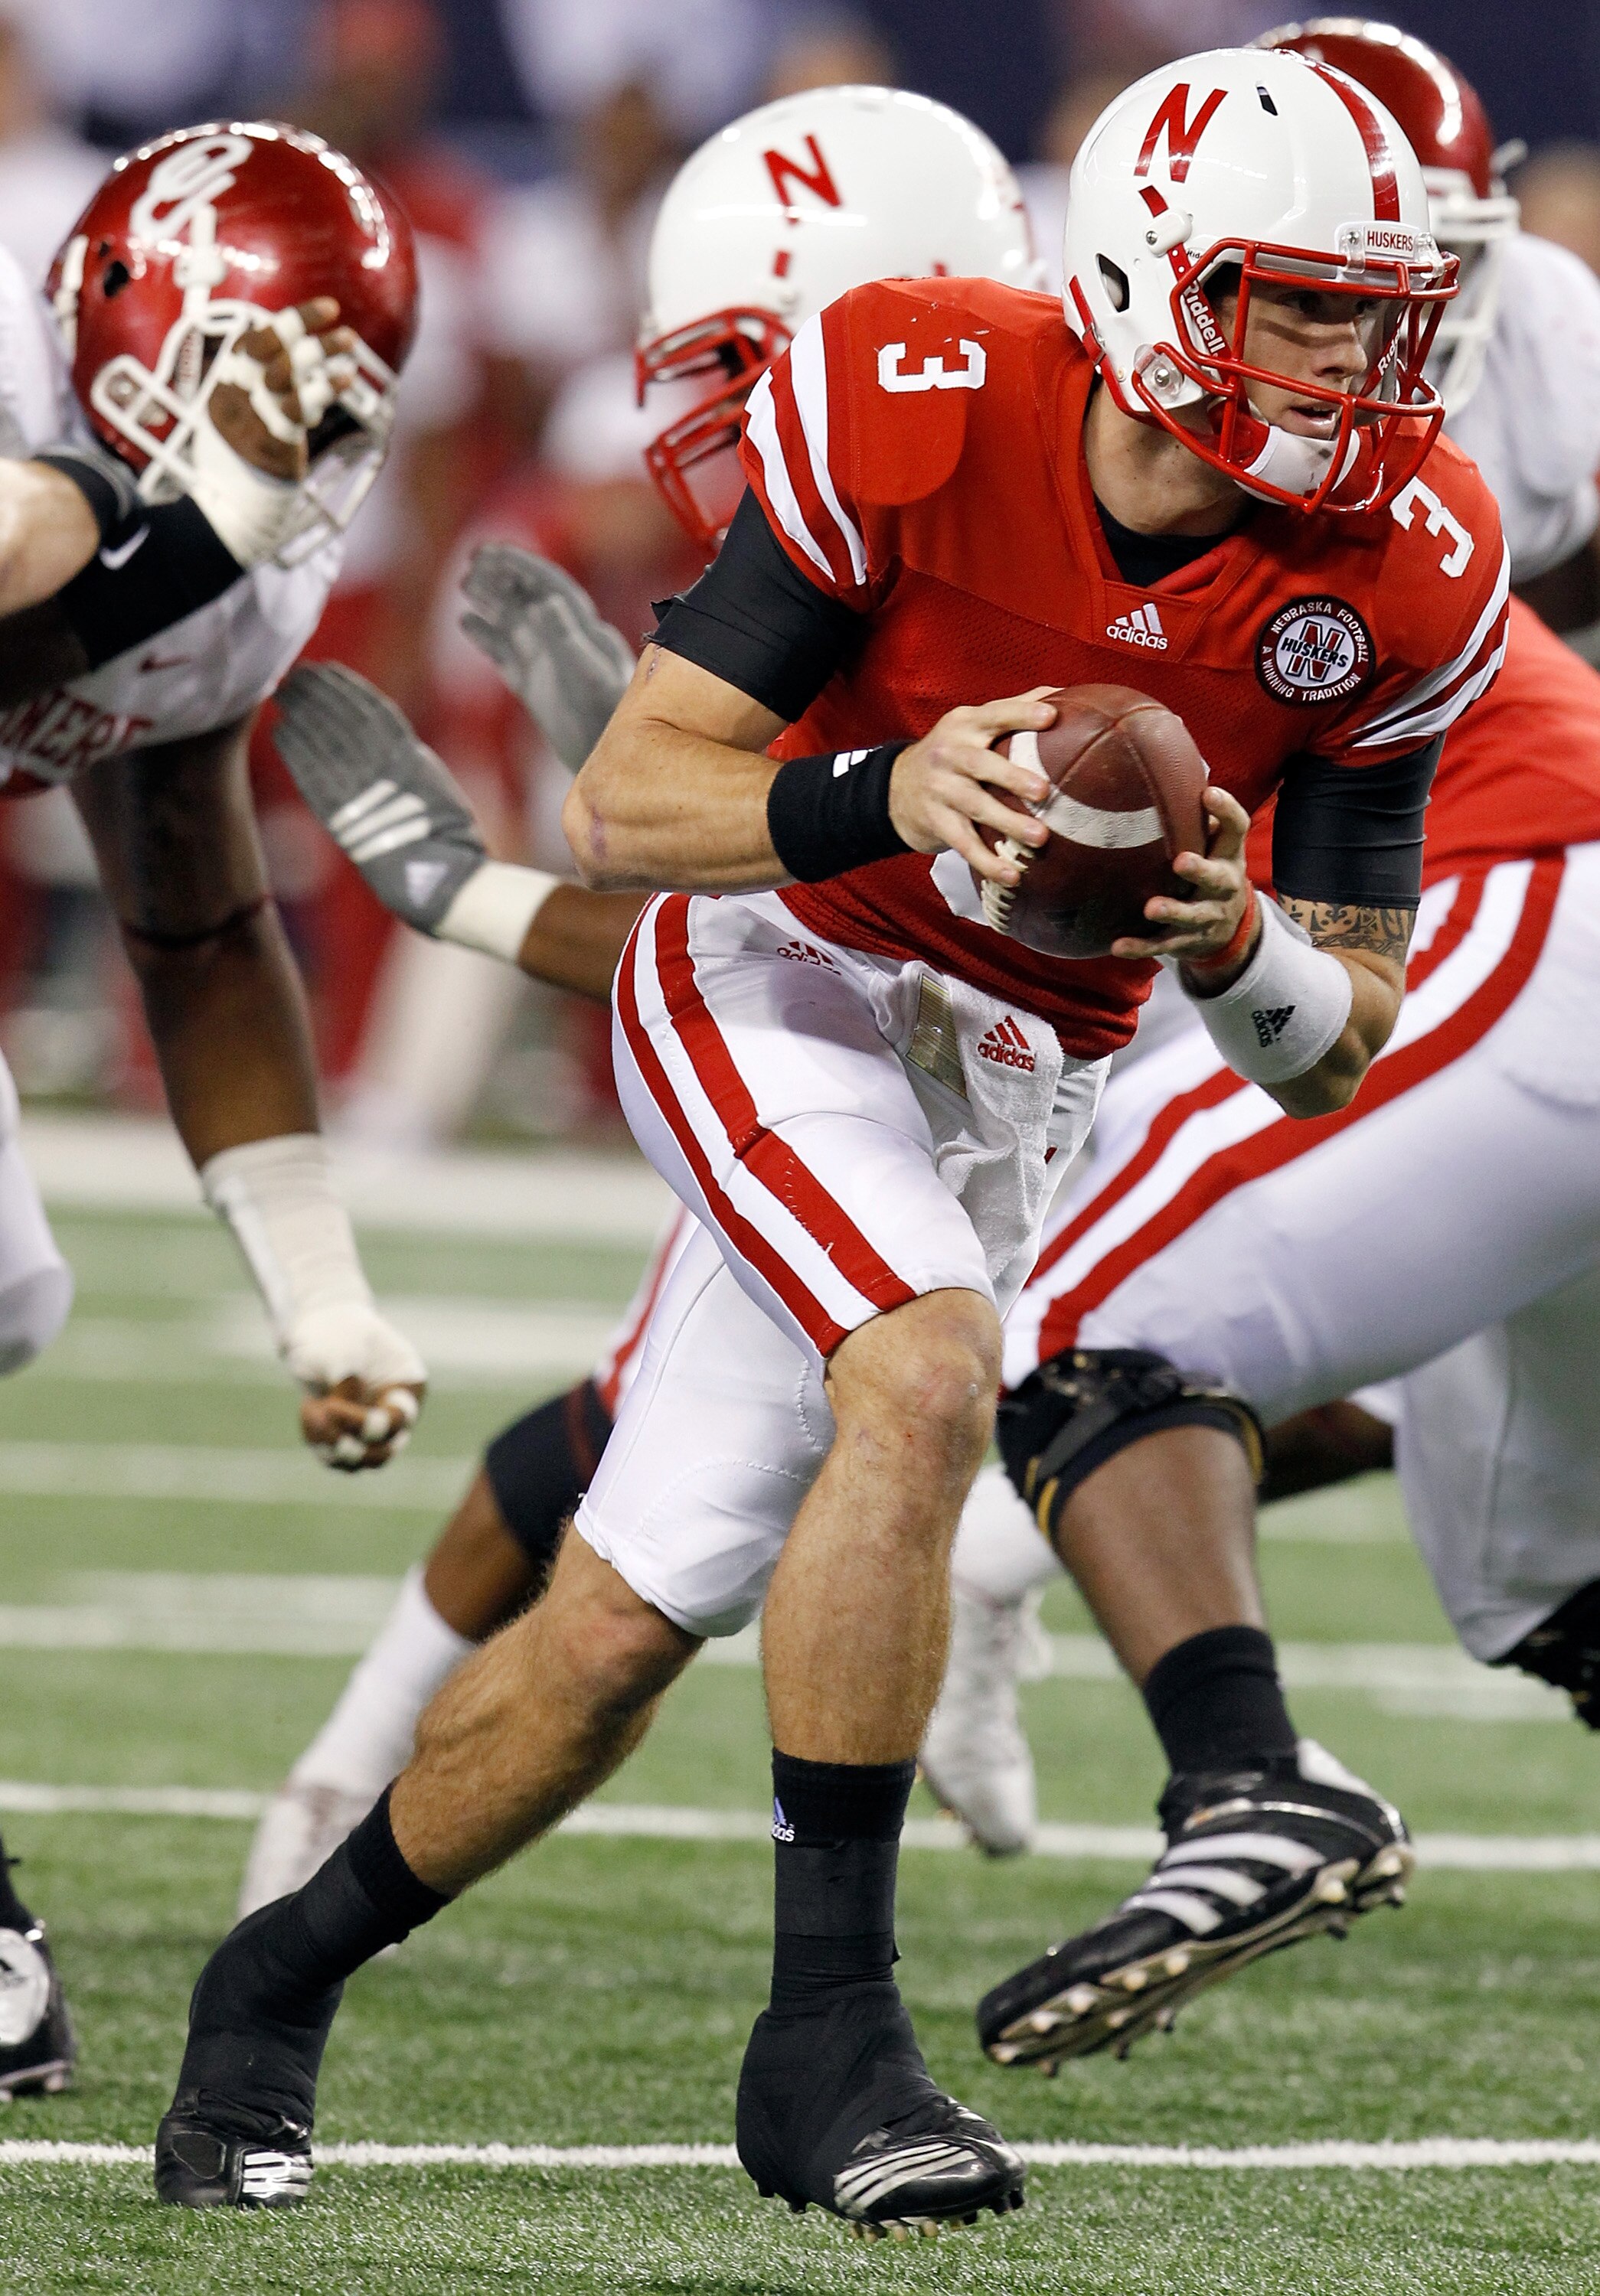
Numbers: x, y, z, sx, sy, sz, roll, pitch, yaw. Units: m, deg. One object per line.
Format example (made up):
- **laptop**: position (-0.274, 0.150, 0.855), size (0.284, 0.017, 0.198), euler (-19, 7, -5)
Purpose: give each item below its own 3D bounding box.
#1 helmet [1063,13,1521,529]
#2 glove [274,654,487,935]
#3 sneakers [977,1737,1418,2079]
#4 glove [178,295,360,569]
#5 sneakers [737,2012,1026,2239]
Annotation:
- **helmet**: position (0.279, -0.531, 1.487), size (0.252, 0.279, 0.330), euler (-17, 34, -39)
- **glove**: position (-0.381, -0.300, 2.070), size (0.132, 0.237, 0.065), euler (-47, 25, -25)
- **sneakers**: position (0.226, 0.444, 1.466), size (0.290, 0.100, 0.127), euler (-30, 45, 9)
- **glove**: position (-0.358, -0.486, 1.672), size (0.125, 0.161, 0.071), euler (14, 5, 23)
- **sneakers**: position (0.040, 0.544, 1.384), size (0.100, 0.109, 0.258), euler (8, -16, -26)
